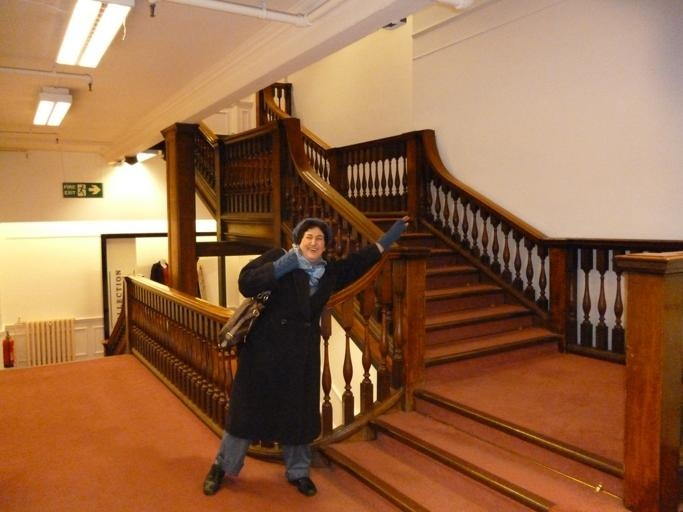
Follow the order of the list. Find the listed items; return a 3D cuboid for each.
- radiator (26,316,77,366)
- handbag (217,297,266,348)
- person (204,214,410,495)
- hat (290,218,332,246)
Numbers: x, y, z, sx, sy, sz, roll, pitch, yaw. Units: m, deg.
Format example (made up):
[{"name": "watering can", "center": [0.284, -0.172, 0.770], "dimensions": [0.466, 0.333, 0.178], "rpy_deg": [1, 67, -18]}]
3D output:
[{"name": "radiator", "center": [-5.207, 1.524, 8.743], "dimensions": [0.781, 0.975, 0.147], "rpy_deg": [-1, 1, -36]}, {"name": "handbag", "center": [-0.619, 0.399, 3.032], "dimensions": [0.093, 0.372, 0.215], "rpy_deg": [36, -6, -39]}, {"name": "person", "center": [-0.320, 0.632, 3.152], "dimensions": [1.246, 1.704, 0.478], "rpy_deg": [-10, 10, -29]}, {"name": "hat", "center": [-0.197, -0.133, 3.082], "dimensions": [0.165, 0.085, 0.196], "rpy_deg": [-5, 10, -37]}]
